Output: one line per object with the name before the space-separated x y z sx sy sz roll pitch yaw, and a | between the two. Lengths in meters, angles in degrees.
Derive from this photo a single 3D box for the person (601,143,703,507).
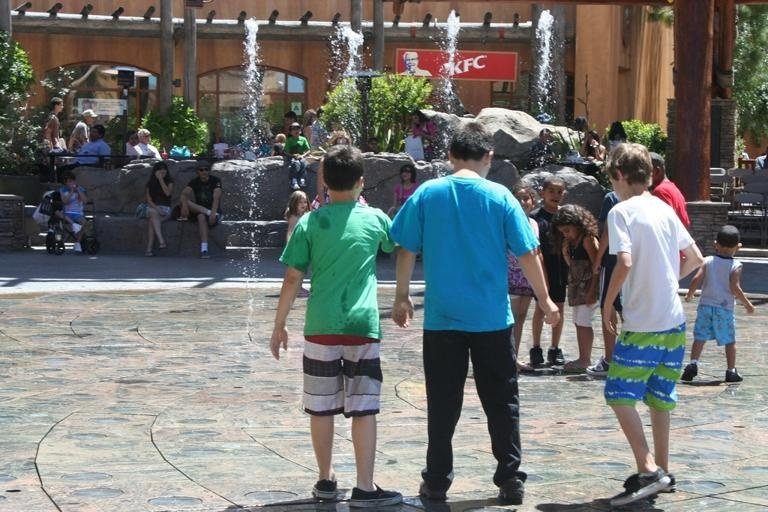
person | 2.490 0.636 12.890 0.848 3.275 1.403 4 14 8

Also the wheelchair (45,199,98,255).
wheelchair | -5.686 -0.601 24.270 1.062 1.037 1.102 -6 16 -29

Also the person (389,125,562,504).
person | 0.842 0.521 12.782 1.559 3.490 1.169 5 14 11

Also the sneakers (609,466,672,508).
sneakers | 2.459 2.190 12.809 0.726 0.266 0.253 -20 -8 -8

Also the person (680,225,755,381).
person | 3.863 0.511 15.514 0.796 1.897 0.877 0 0 0

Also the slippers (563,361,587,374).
slippers | 2.247 1.302 15.685 0.330 0.126 0.115 4 -1 21

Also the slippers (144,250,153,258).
slippers | -4.191 -0.048 24.006 0.146 0.098 0.236 0 13 -9
